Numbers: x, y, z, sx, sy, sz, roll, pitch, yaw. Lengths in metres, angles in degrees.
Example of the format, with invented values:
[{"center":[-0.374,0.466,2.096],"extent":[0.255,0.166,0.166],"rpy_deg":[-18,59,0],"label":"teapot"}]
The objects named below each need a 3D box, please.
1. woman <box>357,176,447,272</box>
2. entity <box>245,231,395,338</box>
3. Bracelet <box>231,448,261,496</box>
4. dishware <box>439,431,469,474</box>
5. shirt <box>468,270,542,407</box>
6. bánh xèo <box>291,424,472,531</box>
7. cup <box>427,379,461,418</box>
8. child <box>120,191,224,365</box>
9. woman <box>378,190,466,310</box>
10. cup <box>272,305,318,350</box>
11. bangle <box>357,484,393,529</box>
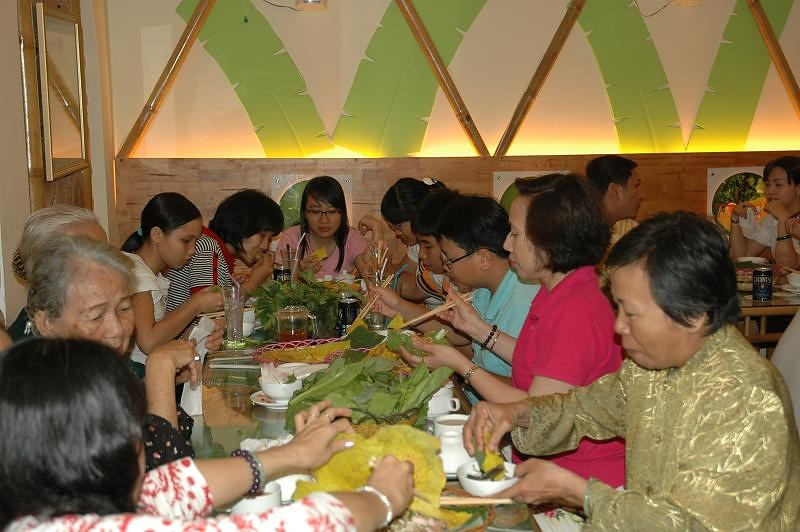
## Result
[{"center":[0.002,-0.272,3.958],"extent":[0.389,0.241,0.788],"rpy_deg":[-15,-7,-3],"label":"woman"},{"center":[-0.474,0.101,3.330],"extent":[0.496,0.488,0.258],"rpy_deg":[0,-21,-10],"label":"entity"},{"center":[-0.359,0.501,1.446],"extent":[0.028,0.098,0.079],"rpy_deg":[-23,-9,-5],"label":"Bracelet"},{"center":[0.149,0.516,1.619],"extent":[0.110,0.060,0.110],"rpy_deg":[-1,1,-5],"label":"dishware"},{"center":[0.427,0.281,2.315],"extent":[0.243,0.733,0.234],"rpy_deg":[4,31,2],"label":"shirt"},{"center":[-0.048,0.496,1.463],"extent":[0.300,0.305,0.107],"rpy_deg":[12,-39,29],"label":"bánh xèo"},{"center":[0.156,0.435,1.925],"extent":[0.091,0.094,0.129],"rpy_deg":[-19,24,-31],"label":"cup"},{"center":[-1.115,0.064,2.897],"extent":[0.486,0.403,1.079],"rpy_deg":[-5,-35,-10],"label":"child"},{"center":[0.126,-0.082,3.260],"extent":[0.274,0.272,0.831],"rpy_deg":[-16,-38,-12],"label":"woman"},{"center":[-0.473,0.287,2.668],"extent":[0.196,0.193,0.143],"rpy_deg":[3,7,18],"label":"cup"},{"center":[-0.037,0.531,1.298],"extent":[0.023,0.082,0.083],"rpy_deg":[-38,20,0],"label":"bangle"}]
